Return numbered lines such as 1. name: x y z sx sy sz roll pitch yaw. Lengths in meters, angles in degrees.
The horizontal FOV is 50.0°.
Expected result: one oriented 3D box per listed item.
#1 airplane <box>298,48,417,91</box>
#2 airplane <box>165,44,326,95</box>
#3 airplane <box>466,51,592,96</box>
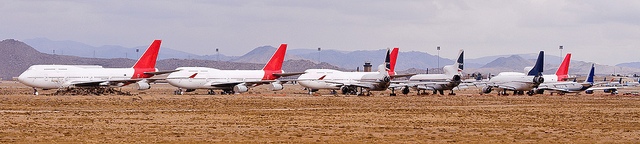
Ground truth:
1. airplane: 26.266 -1.292 491.035 69.588 32.672 161.913 -1 1 -4
2. airplane: -56.960 2.950 423.024 73.454 10.823 59.327 1 -1 -8
3. airplane: 123.907 0.176 421.983 58.676 19.267 11.805 2 -2 4
